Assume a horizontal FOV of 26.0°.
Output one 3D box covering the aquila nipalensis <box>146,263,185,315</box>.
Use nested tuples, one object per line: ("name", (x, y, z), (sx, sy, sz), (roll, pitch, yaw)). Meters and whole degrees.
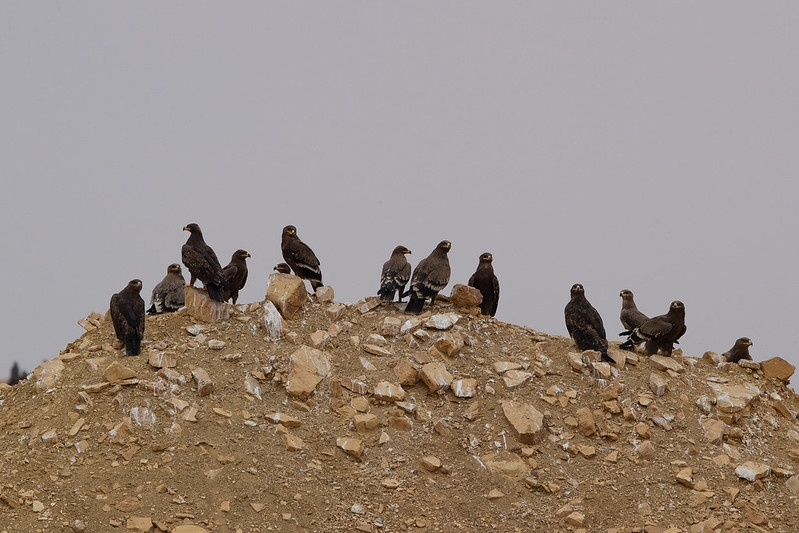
("aquila nipalensis", (-5.483, 0.475, 40.117), (1.136, 1.105, 0.715), (-14, 19, -39))

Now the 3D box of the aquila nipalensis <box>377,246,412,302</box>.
("aquila nipalensis", (-0.114, 0.245, 34.587), (0.508, 1.126, 0.942), (15, -48, 18))
